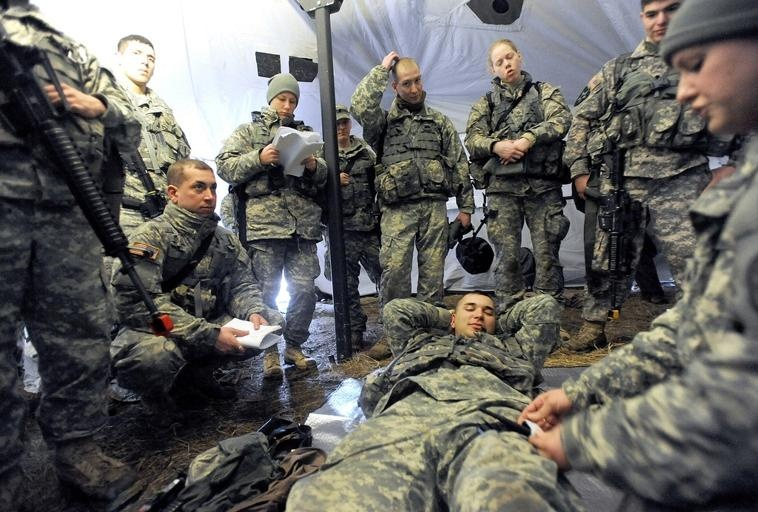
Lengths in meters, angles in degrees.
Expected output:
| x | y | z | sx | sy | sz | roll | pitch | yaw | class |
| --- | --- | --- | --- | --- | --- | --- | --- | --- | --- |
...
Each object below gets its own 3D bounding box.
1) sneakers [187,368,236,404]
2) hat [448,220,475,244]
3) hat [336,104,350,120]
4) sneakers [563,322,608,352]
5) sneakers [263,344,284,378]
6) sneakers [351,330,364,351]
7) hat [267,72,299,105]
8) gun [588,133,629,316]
| x | y | z | sx | sy | sz | roll | pitch | yaw | class |
| --- | --- | --- | --- | --- | --- | --- | --- | --- | --- |
| -1.122 | 0.875 | 3.690 | 0.319 | 0.278 | 0.129 | -2 | 31 | 27 | sneakers |
| 0.725 | -0.200 | 4.659 | 0.162 | 0.227 | 0.371 | -8 | -10 | 26 | hat |
| -0.341 | -1.356 | 5.061 | 0.185 | 0.111 | 0.229 | -2 | 0 | -8 | hat |
| 1.590 | 0.626 | 4.238 | 0.456 | 0.259 | 0.160 | -1 | 3 | 6 | sneakers |
| -0.822 | 0.819 | 4.133 | 0.141 | 0.253 | 0.246 | -1 | -9 | -12 | sneakers |
| -0.195 | 0.764 | 4.769 | 0.157 | 0.149 | 0.144 | 0 | 1 | -13 | sneakers |
| -0.816 | -1.412 | 4.492 | 0.302 | 0.225 | 0.224 | 6 | 10 | 41 | hat |
| 1.730 | -0.175 | 3.863 | 0.300 | 1.148 | 0.443 | -2 | 5 | -3 | gun |
